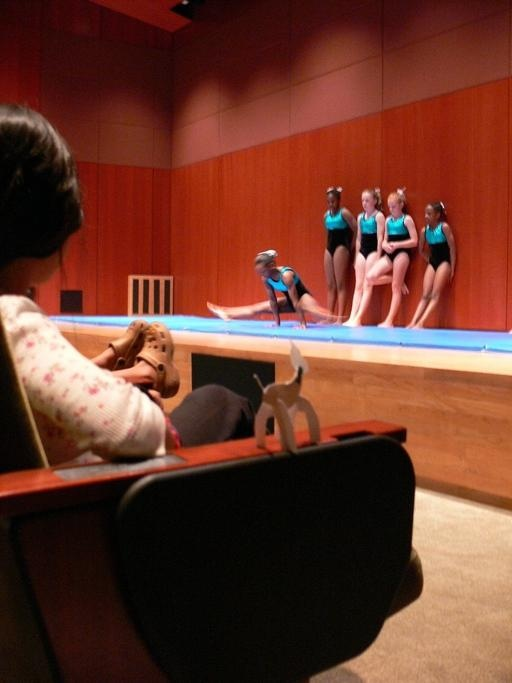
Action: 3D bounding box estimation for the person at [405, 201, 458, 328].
[{"bbox_3d":[1.710,-0.755,4.719,0.349,1.220,0.469,4,6,40],"label":"person"}]
